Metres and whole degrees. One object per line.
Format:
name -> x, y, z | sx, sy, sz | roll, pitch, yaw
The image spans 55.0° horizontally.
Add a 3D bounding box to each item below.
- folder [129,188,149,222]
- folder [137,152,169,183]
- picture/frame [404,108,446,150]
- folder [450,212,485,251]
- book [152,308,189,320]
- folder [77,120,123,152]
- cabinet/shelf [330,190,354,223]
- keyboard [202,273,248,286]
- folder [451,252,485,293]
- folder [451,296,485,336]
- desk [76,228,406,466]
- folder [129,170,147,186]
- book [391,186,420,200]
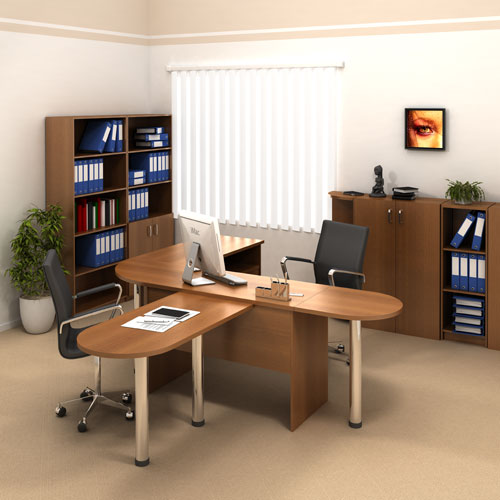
folder -> -1.374, -0.567, 5.898 | 0.226, 0.378, 0.403 | 3, 8, 16
folder -> -1.174, -1.054, 6.214 | 0.368, 0.483, 0.502 | 1, 9, 8
picture/frame -> 1.755, -1.231, 4.817 | 0.436, 0.449, 0.037 | 6, 11, 33
folder -> 1.984, -0.206, 4.491 | 0.079, 0.318, 0.332 | 25, 37, 32
book -> -0.456, 0.371, 2.835 | 0.257, 0.015, 0.172 | 5, 10, 35
folder -> -1.704, -1.314, 5.513 | 0.408, 0.401, 0.384 | 5, 9, 31
cabinet/shelf -> 0.983, -0.465, 5.227 | 0.247, 0.351, 0.443 | 1, 8, 10
keyboard -> -0.179, 0.209, 3.429 | 0.217, 0.030, 0.118 | 12, 15, 26
folder -> 2.089, 0.167, 4.667 | 0.316, 0.433, 0.437 | 3, 9, 26
folder -> 2.116, 0.582, 4.741 | 0.308, 0.401, 0.411 | 3, 7, 25
desk -> -0.082, 0.528, 2.889 | 1.278, 0.515, 1.478 | 5, 10, 28
folder -> -1.368, -0.887, 5.852 | 0.193, 0.117, 0.192 | -8, 15, -38
book -> 1.505, -0.566, 4.751 | 0.177, 0.063, 0.175 | -4, 12, -23
